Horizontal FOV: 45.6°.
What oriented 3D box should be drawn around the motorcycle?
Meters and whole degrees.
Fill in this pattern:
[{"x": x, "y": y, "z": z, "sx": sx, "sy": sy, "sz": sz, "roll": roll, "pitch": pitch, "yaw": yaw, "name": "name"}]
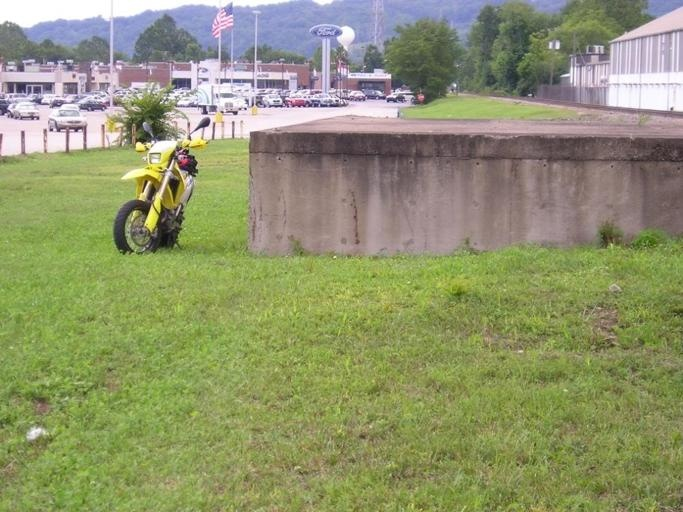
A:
[{"x": -2.608, "y": -0.861, "z": 11.555, "sx": 1.308, "sy": 1.569, "sz": 0.735, "roll": -4, "pitch": 10, "yaw": -24, "name": "motorcycle"}]
